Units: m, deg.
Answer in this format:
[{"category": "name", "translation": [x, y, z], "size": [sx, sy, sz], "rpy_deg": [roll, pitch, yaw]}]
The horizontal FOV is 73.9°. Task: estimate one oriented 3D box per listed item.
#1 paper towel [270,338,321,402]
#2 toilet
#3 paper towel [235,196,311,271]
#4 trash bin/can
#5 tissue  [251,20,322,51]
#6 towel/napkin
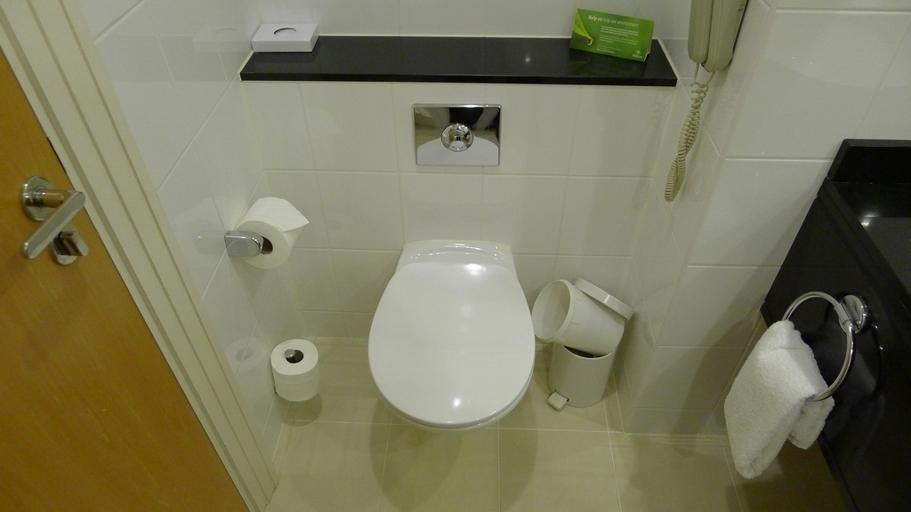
[{"category": "paper towel", "translation": [-0.617, 0.500, 2.378], "size": [0.181, 0.324, 0.161], "rpy_deg": [-11, 38, -15]}, {"category": "toilet", "translation": [0.002, 0.256, 2.255], "size": [0.587, 0.191, 0.829], "rpy_deg": [5, 48, 2]}, {"category": "paper towel", "translation": [-0.641, -0.088, 2.150], "size": [0.204, 0.180, 0.199], "rpy_deg": [3, 30, 8]}, {"category": "trash bin/can", "translation": [0.476, 0.346, 2.469], "size": [0.355, 0.532, 0.299], "rpy_deg": [21, 41, 24]}, {"category": "tissue ", "translation": [-0.603, -0.777, 2.138], "size": [0.161, 0.048, 0.117], "rpy_deg": [0, 58, 0]}, {"category": "towel/napkin", "translation": [0.995, 0.459, 1.902], "size": [0.211, 0.381, 0.329], "rpy_deg": [0, 33, 3]}]
